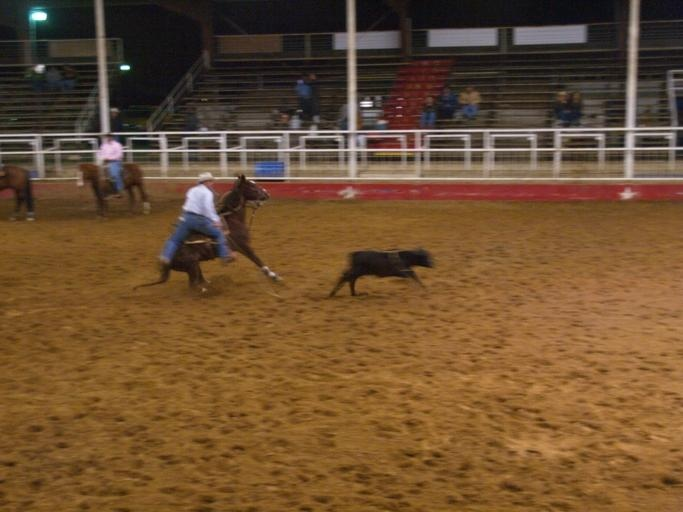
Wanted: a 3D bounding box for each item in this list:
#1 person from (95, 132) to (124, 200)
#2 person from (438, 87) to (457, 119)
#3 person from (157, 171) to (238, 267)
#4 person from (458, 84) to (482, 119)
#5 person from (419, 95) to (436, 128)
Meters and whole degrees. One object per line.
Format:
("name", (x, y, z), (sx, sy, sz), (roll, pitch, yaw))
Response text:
("person", (-4.884, -1.968, 16.127), (0.488, 1.279, 0.515), (0, 12, -13))
("person", (3.033, -4.325, 21.590), (0.578, 0.843, 0.521), (2, 10, 1))
("person", (-2.030, -0.522, 10.728), (1.019, 1.303, 0.430), (1, 12, -5))
("person", (3.679, -4.423, 21.973), (0.583, 0.962, 0.548), (3, 11, 4))
("person", (2.473, -4.071, 21.594), (0.597, 0.837, 0.476), (3, 1, 22))
